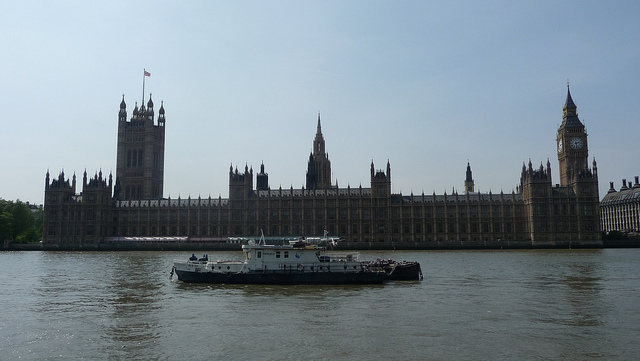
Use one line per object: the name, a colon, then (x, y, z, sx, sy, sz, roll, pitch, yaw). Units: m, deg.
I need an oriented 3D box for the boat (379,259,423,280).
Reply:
boat: (19.557, 21.261, 209.306, 8.309, 4.538, 2.374, -2, -7, 4)

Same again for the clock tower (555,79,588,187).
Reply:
clock tower: (91.188, -15.830, 317.611, 9.524, 36.100, 17.632, -4, -8, 15)
